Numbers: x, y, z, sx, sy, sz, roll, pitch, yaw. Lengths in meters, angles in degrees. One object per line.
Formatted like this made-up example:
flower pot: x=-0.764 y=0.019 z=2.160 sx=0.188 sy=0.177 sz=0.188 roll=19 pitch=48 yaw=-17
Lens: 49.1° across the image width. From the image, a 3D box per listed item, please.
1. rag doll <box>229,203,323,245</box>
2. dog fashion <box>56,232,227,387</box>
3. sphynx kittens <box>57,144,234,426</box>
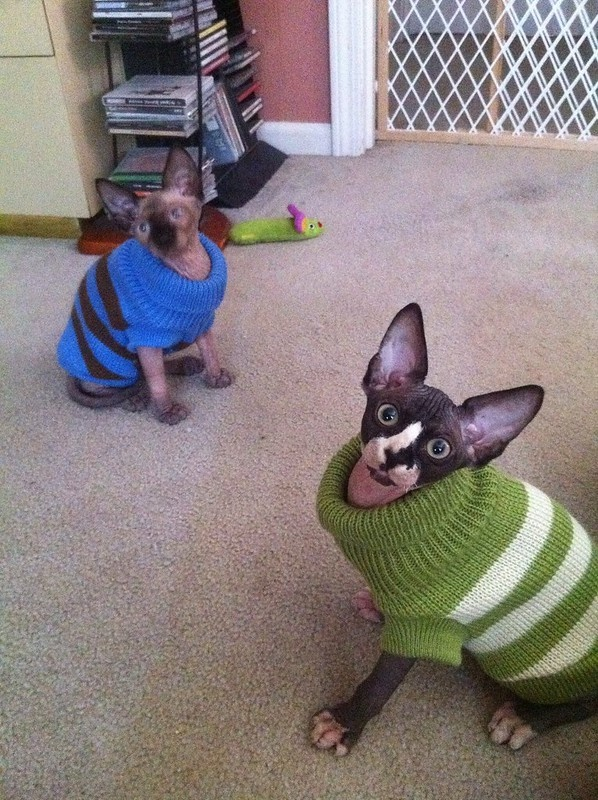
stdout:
rag doll: x=-0.071 y=-0.556 z=2.131 sx=0.314 sy=0.108 sz=0.122 roll=-3 pitch=38 yaw=-1
dog fashion: x=-0.348 y=-0.211 z=1.435 sx=0.377 sy=0.314 sz=0.275 roll=4 pitch=36 yaw=1
sphynx kittens: x=-0.333 y=-0.254 z=1.417 sx=0.396 sy=0.547 sz=0.265 roll=10 pitch=37 yaw=12
